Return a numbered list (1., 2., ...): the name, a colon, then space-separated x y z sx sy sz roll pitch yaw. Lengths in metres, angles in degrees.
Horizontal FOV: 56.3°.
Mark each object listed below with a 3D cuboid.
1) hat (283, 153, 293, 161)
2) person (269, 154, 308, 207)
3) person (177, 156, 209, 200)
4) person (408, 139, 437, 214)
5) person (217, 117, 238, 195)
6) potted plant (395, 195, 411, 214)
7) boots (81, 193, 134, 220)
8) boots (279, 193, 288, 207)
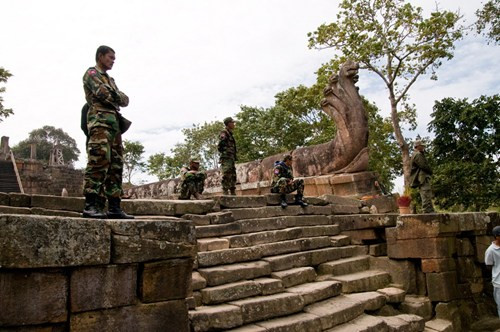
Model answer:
1. hat: 0.965 -0.234 11.861 0.153 0.189 0.197 6 12 35
2. person: 0.947 0.360 11.699 0.781 1.298 0.633 0 3 -33
3. person: -1.561 0.345 12.398 0.782 1.099 0.629 2 2 7
4. person: 4.466 0.257 12.105 0.615 1.879 0.830 2 2 19
5. person: -0.605 -0.248 12.400 0.526 2.047 1.540 2 2 -3
6. potted plant: 3.795 0.940 11.576 0.424 0.529 0.440 2 -2 -24
7. boots: -2.404 0.690 7.644 0.486 0.416 0.659 -22 -28 39
8. boots: 0.817 0.838 11.457 0.163 0.322 0.340 2 2 3
